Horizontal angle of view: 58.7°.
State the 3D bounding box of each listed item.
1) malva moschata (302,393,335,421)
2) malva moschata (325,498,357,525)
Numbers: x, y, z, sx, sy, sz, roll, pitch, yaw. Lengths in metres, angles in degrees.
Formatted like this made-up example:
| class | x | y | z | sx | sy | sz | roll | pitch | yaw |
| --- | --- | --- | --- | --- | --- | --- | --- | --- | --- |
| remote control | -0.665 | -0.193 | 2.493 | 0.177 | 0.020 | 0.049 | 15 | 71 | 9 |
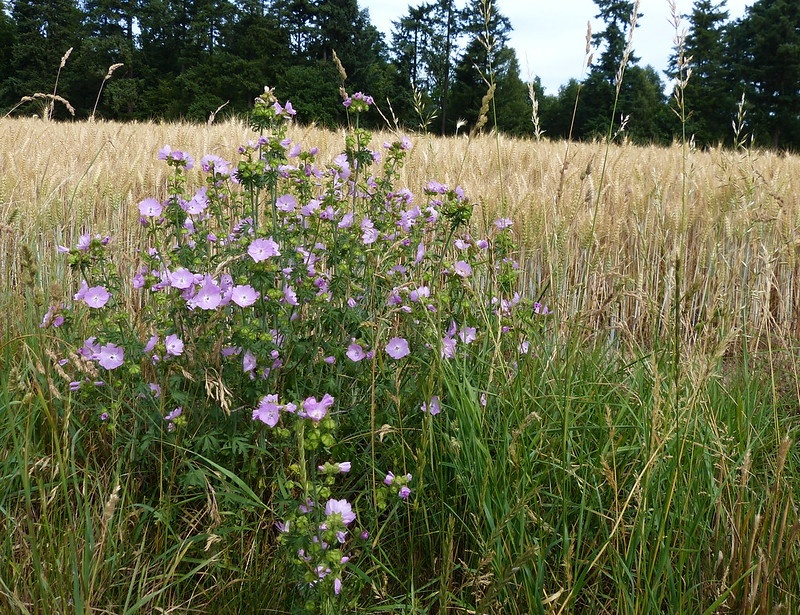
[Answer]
| class | x | y | z | sx | sy | sz | roll | pitch | yaw |
| --- | --- | --- | --- | --- | --- | --- | --- | --- | --- |
| malva moschata | -0.309 | 0.371 | 2.611 | 0.130 | 0.105 | 0.062 | -8 | 16 | -43 |
| malva moschata | -0.235 | 0.769 | 2.723 | 0.106 | 0.124 | 0.054 | 23 | -37 | -29 |
